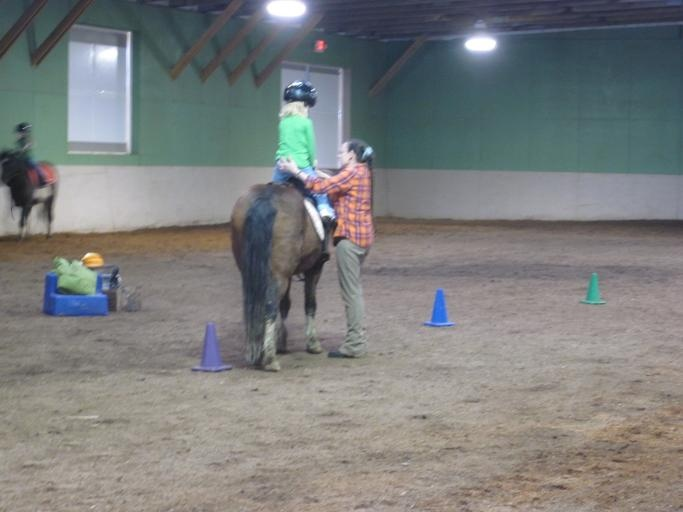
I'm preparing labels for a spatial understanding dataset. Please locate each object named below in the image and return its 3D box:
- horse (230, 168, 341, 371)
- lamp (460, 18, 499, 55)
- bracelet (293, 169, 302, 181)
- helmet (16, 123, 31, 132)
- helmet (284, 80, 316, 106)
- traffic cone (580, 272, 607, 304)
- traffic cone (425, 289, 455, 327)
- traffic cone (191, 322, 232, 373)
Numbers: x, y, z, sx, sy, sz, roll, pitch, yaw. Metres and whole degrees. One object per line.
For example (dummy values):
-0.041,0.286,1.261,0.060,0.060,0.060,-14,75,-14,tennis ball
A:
-0.498,-0.004,7.667,0.620,1.967,2.321,2,0,12,horse
3.484,-5.351,20.039,0.834,0.877,2.900,2,3,10,lamp
-0.373,-0.686,7.001,0.054,0.070,0.066,-1,15,-26,bracelet
-5.861,-2.353,14.821,0.261,0.207,0.528,0,3,-21,helmet
-0.391,-1.467,7.261,0.262,0.237,0.209,-11,19,-25,helmet
3.013,0.393,9.772,0.362,0.423,0.366,-1,-4,40,traffic cone
1.047,0.542,8.547,0.320,0.371,0.359,2,3,7,traffic cone
-1.105,0.741,6.797,0.376,0.410,0.363,-3,7,-25,traffic cone
